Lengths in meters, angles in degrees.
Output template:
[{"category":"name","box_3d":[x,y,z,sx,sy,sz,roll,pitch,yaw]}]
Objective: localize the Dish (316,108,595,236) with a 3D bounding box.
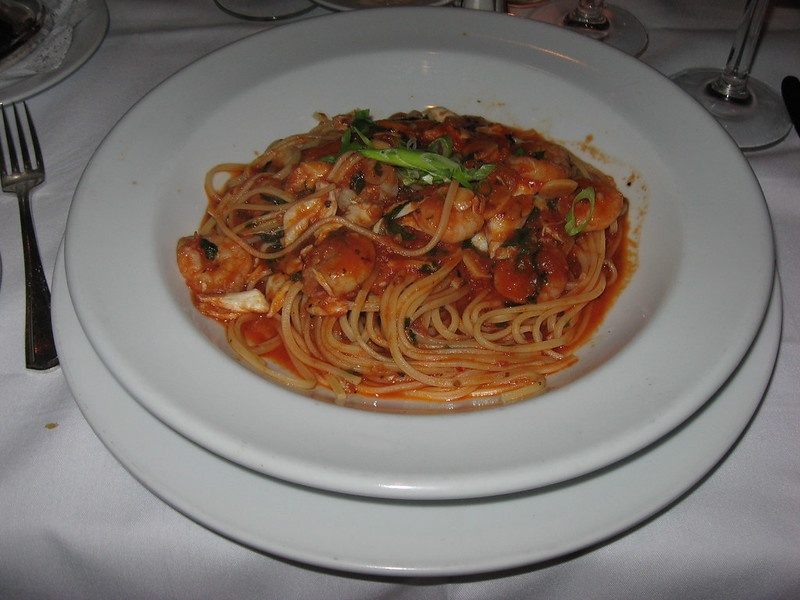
[{"category":"Dish","box_3d":[0.093,-0.671,4.431,1.422,1.371,0.710,-12,-56,-38]}]
